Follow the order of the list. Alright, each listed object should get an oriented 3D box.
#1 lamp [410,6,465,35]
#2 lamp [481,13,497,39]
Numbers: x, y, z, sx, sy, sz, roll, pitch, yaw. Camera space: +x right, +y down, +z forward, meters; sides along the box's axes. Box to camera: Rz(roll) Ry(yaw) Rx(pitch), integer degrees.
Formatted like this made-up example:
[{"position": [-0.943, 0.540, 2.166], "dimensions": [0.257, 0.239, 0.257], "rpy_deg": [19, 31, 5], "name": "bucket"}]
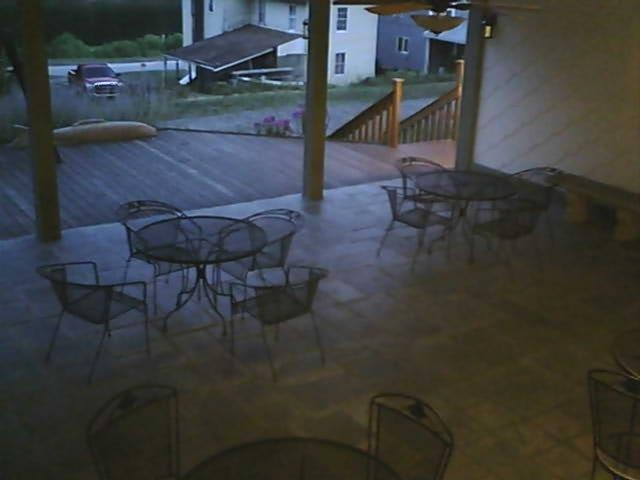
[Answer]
[{"position": [1.434, -2.621, 6.725], "dimensions": [0.640, 0.250, 0.618], "rpy_deg": [4, 19, 16], "name": "lamp"}, {"position": [2.650, -3.374, 8.833], "dimensions": [0.216, 0.384, 0.285], "rpy_deg": [22, 32, 34], "name": "lamp"}]
